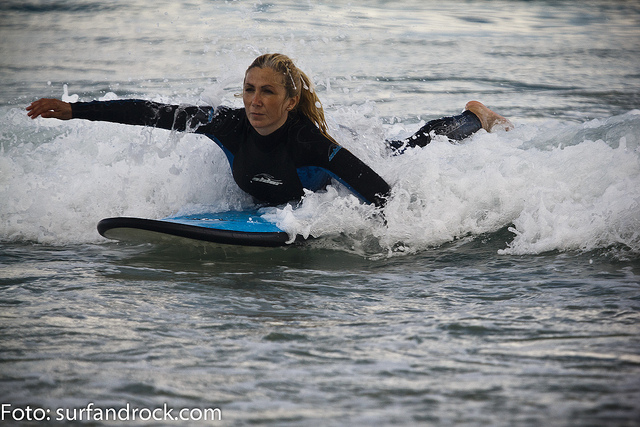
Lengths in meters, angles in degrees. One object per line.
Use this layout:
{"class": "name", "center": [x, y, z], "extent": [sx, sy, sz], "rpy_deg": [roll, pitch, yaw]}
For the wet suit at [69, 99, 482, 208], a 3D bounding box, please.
{"class": "wet suit", "center": [-0.631, -0.540, 7.684], "extent": [2.790, 0.902, 0.607], "rpy_deg": [9, 33, 10]}
